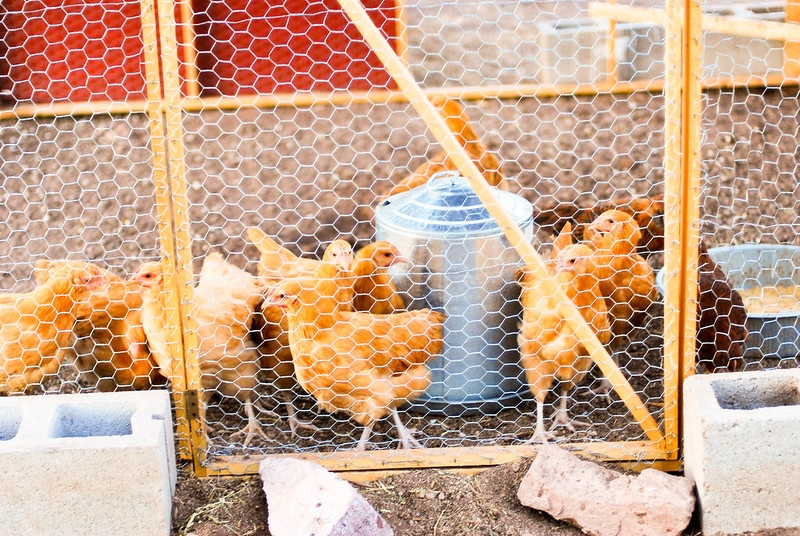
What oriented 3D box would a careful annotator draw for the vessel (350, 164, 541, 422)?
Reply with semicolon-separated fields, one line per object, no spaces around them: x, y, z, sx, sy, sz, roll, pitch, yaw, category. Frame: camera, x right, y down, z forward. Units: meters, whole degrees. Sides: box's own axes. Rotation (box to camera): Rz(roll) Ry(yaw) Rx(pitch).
0.244;0.029;6.069;1.268;1.679;1.226;-4;21;-6;vessel

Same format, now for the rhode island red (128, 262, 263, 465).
-1.087;0.416;5.496;0.664;1.050;0.672;-9;33;-9;rhode island red

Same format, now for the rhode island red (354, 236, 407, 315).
-0.167;0.007;5.607;0.391;0.506;0.327;-4;19;-5;rhode island red
